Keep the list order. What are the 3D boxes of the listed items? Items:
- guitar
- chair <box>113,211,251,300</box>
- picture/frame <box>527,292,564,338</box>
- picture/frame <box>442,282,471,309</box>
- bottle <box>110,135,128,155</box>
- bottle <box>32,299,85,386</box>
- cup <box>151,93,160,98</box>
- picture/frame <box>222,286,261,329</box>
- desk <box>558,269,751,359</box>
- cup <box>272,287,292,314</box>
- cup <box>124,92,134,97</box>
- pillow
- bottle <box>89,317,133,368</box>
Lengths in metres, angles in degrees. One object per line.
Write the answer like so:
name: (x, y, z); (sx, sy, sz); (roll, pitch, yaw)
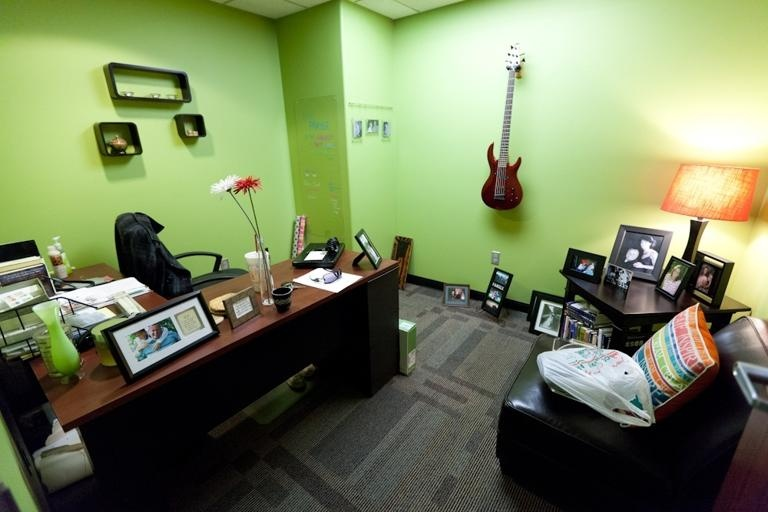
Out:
guitar: (1.075, -1.131, 4.360); (0.349, 1.406, 0.234); (1, 19, 10)
chair: (-1.662, -0.167, 3.953); (0.823, 1.018, 0.725); (-13, 26, -38)
picture/frame: (1.471, 0.535, 4.389); (0.026, 0.359, 0.318); (15, -27, -40)
picture/frame: (0.743, 0.406, 4.946); (0.250, 0.251, 0.018); (-2, -8, 2)
bottle: (-2.116, -0.907, 3.987); (0.132, 0.155, 0.132); (2, 23, 0)
bottle: (-1.827, 0.471, 2.723); (0.151, 0.453, 0.191); (-19, 25, -41)
cup: (-1.919, -1.355, 4.106); (0.059, 0.027, 0.060); (1, 21, 0)
picture/frame: (-0.912, 0.338, 3.108); (0.022, 0.176, 0.203); (0, 21, 41)
desk: (2.030, 0.325, 3.755); (0.730, 0.714, 0.756); (-7, 19, -17)
cup: (-0.662, 0.274, 3.170); (0.154, 0.166, 0.150); (0, 12, 0)
cup: (-2.079, -1.315, 3.974); (0.068, 0.042, 0.075); (-11, 20, -25)
pillow: (1.773, 0.661, 2.977); (0.348, 0.570, 0.343); (2, 19, 11)
bottle: (-1.583, 0.478, 2.828); (0.175, 0.276, 0.264); (-14, 22, -32)
